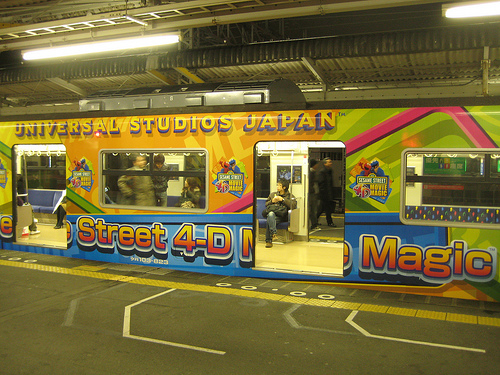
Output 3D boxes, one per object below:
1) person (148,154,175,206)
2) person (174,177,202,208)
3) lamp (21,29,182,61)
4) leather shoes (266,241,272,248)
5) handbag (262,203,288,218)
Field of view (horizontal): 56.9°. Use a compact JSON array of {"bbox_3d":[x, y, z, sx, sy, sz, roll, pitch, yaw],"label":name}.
[{"bbox_3d":[-1.792,-0.155,9.248,0.382,1.033,0.189,9,15,39],"label":"person"},{"bbox_3d":[-1.148,0.111,9.070,0.589,0.841,0.533,3,-1,-14],"label":"person"},{"bbox_3d":[-2.874,-2.722,8.846,3.396,0.347,0.301,3,12,18],"label":"lamp"},{"bbox_3d":[0.455,1.318,10.912,0.146,0.141,0.239,-1,11,0],"label":"leather shoes"},{"bbox_3d":[0.644,0.551,11.307,0.462,0.183,0.346,0,41,-3],"label":"handbag"}]
